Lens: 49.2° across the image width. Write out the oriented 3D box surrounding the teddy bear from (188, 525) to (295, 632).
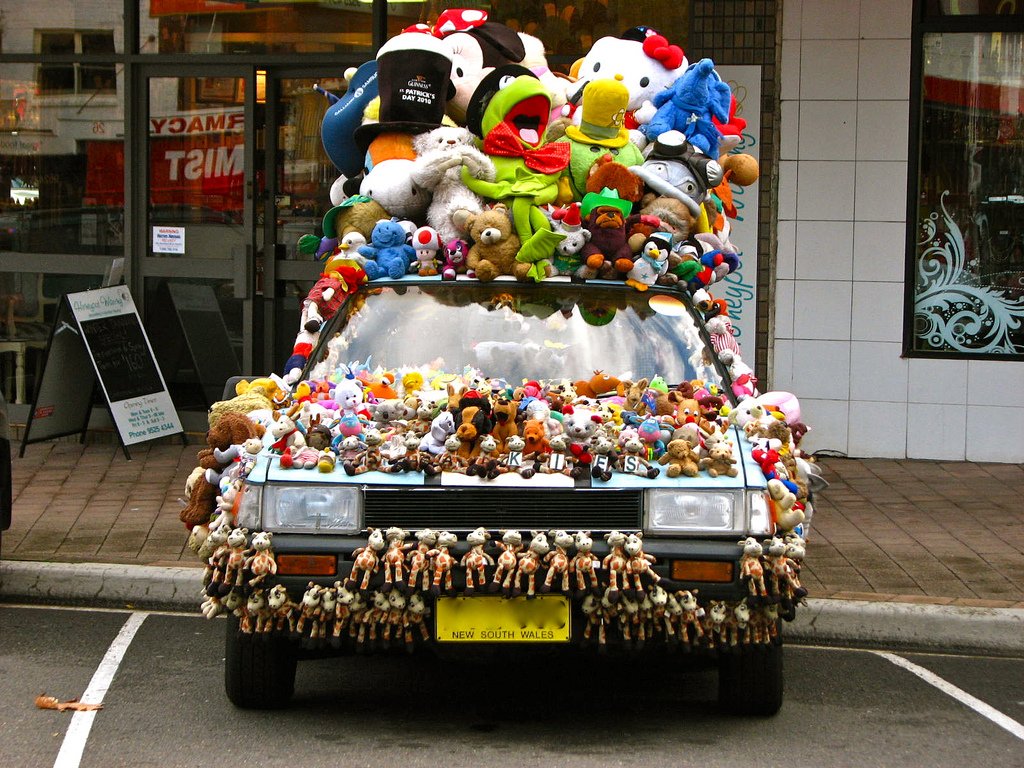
[{"bbox_3d":[-1.152,0.894,4.973,0.417,0.500,0.168,6,11,27],"label":"teddy bear"}]
